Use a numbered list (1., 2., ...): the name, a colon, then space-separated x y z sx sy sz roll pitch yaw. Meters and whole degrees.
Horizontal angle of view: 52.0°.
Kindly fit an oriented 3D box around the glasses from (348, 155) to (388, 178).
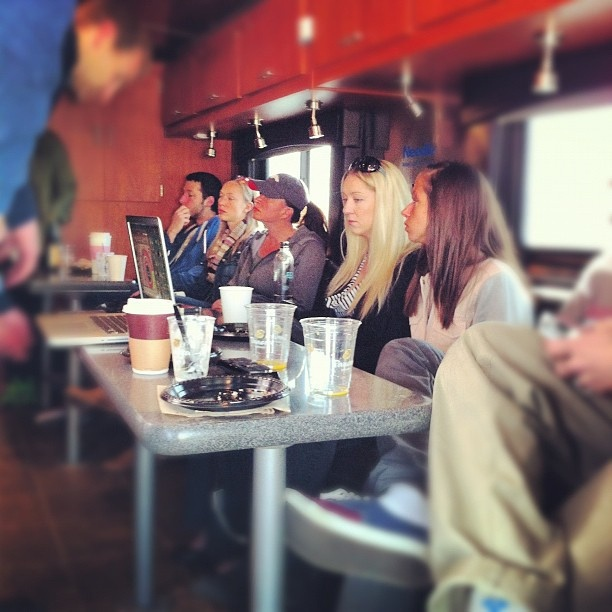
1. glasses: 0.216 -0.501 2.234 0.106 0.025 0.099 23 -9 -26

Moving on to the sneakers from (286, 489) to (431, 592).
1. sneakers: 0.118 0.523 1.453 0.432 0.132 0.146 12 -3 28

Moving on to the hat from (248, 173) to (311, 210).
1. hat: -0.128 -0.532 2.928 0.302 0.171 0.110 3 10 6

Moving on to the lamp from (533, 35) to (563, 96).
1. lamp: 0.497 -0.490 1.294 0.050 0.095 0.057 6 11 17

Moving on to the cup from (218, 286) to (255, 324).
1. cup: -0.215 -0.003 1.930 0.144 0.104 0.128 3 3 24

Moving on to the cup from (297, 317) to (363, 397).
1. cup: 0.048 0.096 1.270 0.207 0.163 0.158 0 1 7
